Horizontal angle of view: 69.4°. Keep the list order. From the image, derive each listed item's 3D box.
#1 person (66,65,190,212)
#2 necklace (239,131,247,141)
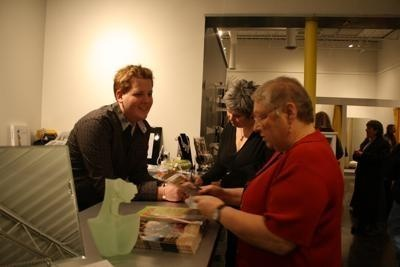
[{"bbox_3d":[-0.604,-0.016,2.412,0.991,1.097,0.663,6,4,15],"label":"person"},{"bbox_3d":[0.384,0.026,2.573,0.051,0.089,0.050,3,23,26],"label":"necklace"}]
